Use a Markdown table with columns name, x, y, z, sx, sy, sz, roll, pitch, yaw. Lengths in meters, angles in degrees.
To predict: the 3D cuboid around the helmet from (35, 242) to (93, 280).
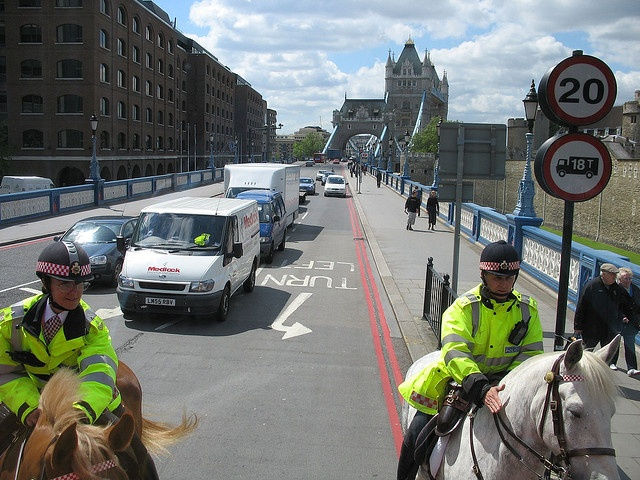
| name | x | y | z | sx | sy | sz | roll | pitch | yaw |
| --- | --- | --- | --- | --- | --- | --- | --- | --- | --- |
| helmet | -2.002 | 0.170 | 3.845 | 0.397 | 0.328 | 0.304 | -1 | 8 | -15 |

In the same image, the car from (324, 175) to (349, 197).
| name | x | y | z | sx | sy | sz | roll | pitch | yaw |
| --- | --- | --- | --- | --- | --- | --- | --- | --- | --- |
| car | 1.613 | -5.466 | 49.780 | 1.944 | 1.806 | 2.320 | 2 | 8 | 7 |

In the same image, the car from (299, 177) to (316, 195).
| name | x | y | z | sx | sy | sz | roll | pitch | yaw |
| --- | --- | --- | --- | --- | --- | --- | --- | --- | --- |
| car | -1.287 | -5.614 | 49.534 | 1.100 | 1.007 | 2.671 | 0 | 3 | 3 |

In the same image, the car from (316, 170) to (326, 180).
| name | x | y | z | sx | sy | sz | roll | pitch | yaw |
| --- | --- | --- | --- | --- | --- | --- | --- | --- | --- |
| car | 0.060 | -10.027 | 74.405 | 1.058 | 1.307 | 2.482 | 0 | 5 | 1 |

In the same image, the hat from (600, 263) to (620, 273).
| name | x | y | z | sx | sy | sz | roll | pitch | yaw |
| --- | --- | --- | --- | --- | --- | --- | --- | --- | --- |
| hat | 4.726 | 0.462 | 7.979 | 0.244 | 0.160 | 0.245 | 4 | 9 | 14 |

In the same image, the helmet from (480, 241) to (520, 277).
| name | x | y | z | sx | sy | sz | roll | pitch | yaw |
| --- | --- | --- | --- | --- | --- | --- | --- | --- | --- |
| helmet | 1.500 | 0.138 | 4.076 | 0.225 | 0.235 | 0.324 | 0 | 9 | 2 |

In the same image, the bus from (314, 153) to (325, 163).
| name | x | y | z | sx | sy | sz | roll | pitch | yaw |
| --- | --- | --- | --- | --- | --- | --- | --- | --- | --- |
| bus | -0.278 | -25.429 | 150.234 | 2.610 | 2.713 | 3.878 | 3 | 9 | 15 |

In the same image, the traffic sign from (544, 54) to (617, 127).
| name | x | y | z | sx | sy | sz | roll | pitch | yaw |
| --- | --- | --- | --- | --- | --- | --- | --- | --- | --- |
| traffic sign | 2.914 | -1.698 | 5.538 | 0.802 | 0.798 | 0.348 | 2 | 7 | 6 |

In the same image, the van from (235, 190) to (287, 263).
| name | x | y | z | sx | sy | sz | roll | pitch | yaw |
| --- | --- | --- | --- | --- | --- | --- | --- | --- | --- |
| van | -2.195 | -0.773 | 19.151 | 1.328 | 1.696 | 3.222 | 0 | 8 | 7 |

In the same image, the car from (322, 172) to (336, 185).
| name | x | y | z | sx | sy | sz | roll | pitch | yaw |
| --- | --- | --- | --- | --- | --- | --- | --- | --- | --- |
| car | 1.024 | -8.689 | 68.104 | 1.365 | 1.636 | 2.998 | 0 | 5 | 3 |
